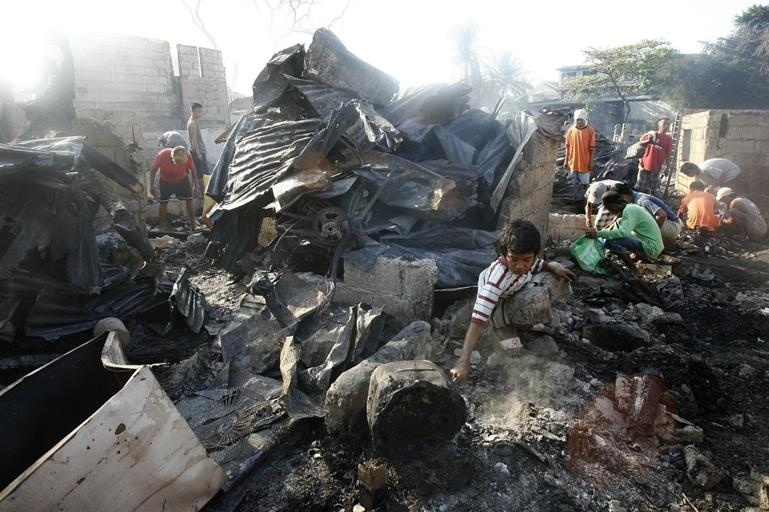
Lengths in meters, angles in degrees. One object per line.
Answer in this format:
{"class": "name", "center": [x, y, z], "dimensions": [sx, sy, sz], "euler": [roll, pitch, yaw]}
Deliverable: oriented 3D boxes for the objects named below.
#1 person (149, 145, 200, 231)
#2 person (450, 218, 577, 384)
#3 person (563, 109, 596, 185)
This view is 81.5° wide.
{"class": "person", "center": [-4.048, -1.311, 8.581], "dimensions": [0.798, 1.569, 1.532], "euler": [-6, 17, -24]}
{"class": "person", "center": [1.094, 0.307, 4.002], "dimensions": [1.309, 1.297, 0.435], "euler": [-9, 18, -31]}
{"class": "person", "center": [3.837, -2.101, 8.737], "dimensions": [0.530, 1.442, 0.666], "euler": [7, 17, 20]}
